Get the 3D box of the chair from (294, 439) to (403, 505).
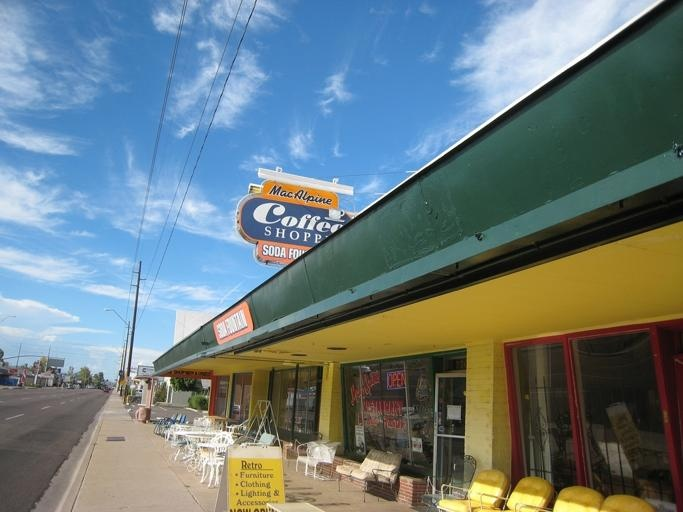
[{"bbox_3d":[0.140,5.653,10.844,1.090,1.030,3.898,14,-24,-28],"label":"chair"}]
